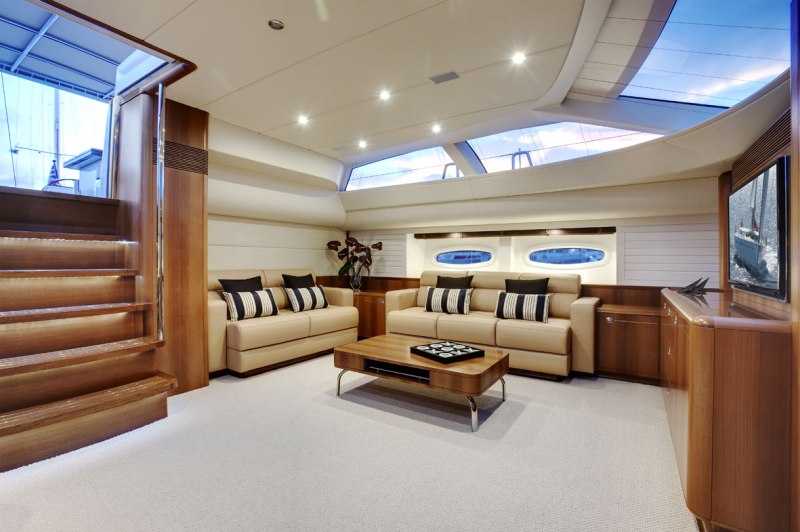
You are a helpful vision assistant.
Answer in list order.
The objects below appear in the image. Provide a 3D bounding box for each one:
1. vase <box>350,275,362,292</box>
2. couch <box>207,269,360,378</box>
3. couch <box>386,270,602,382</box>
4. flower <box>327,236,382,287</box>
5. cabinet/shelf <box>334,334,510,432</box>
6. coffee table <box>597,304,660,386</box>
[{"bbox_3d":[-0.813,0.315,8.193,0.253,0.272,0.261,-5,-8,40],"label":"vase"},{"bbox_3d":[-1.694,0.703,6.533,1.164,1.224,2.378,5,5,39],"label":"couch"},{"bbox_3d":[1.173,0.708,6.430,2.951,1.156,1.114,1,7,31],"label":"couch"},{"bbox_3d":[-0.783,-0.054,8.239,0.935,0.791,0.952,-1,-4,27],"label":"flower"},{"bbox_3d":[0.234,1.219,4.999,1.618,0.693,0.888,0,0,32],"label":"cabinet/shelf"},{"bbox_3d":[2.772,1.087,5.672,0.725,0.884,0.628,2,-39,21],"label":"coffee table"}]
